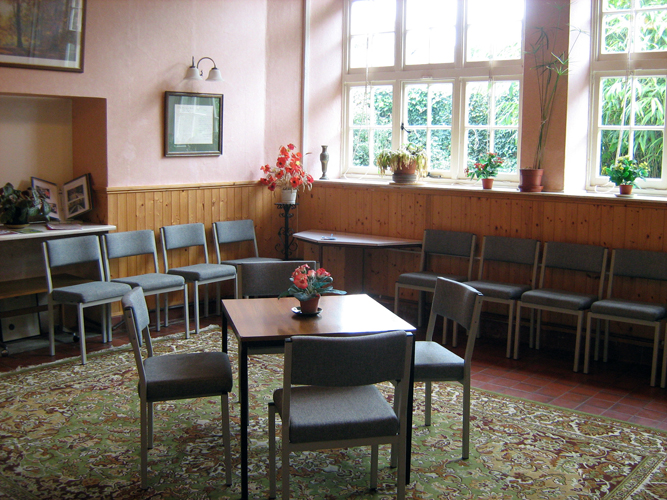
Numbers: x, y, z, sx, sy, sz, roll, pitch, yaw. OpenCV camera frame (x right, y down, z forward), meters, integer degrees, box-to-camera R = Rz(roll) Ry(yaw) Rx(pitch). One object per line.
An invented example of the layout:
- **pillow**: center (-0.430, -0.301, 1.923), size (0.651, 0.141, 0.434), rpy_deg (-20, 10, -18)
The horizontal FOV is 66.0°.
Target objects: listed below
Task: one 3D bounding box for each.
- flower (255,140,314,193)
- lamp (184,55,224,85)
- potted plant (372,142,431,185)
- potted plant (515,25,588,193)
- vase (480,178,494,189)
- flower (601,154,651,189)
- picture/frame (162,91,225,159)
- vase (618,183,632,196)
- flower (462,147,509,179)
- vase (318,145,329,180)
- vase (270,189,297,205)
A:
- **flower**: center (-0.589, -1.050, 6.544), size (0.734, 0.601, 0.649), rpy_deg (-5, 11, -20)
- **lamp**: center (-1.456, -2.072, 5.834), size (0.467, 0.301, 0.339), rpy_deg (-8, 12, -32)
- **potted plant**: center (0.822, -1.039, 6.131), size (0.524, 0.373, 0.442), rpy_deg (2, 9, 19)
- **potted plant**: center (2.340, -1.501, 5.483), size (0.505, 1.687, 0.326), rpy_deg (3, 12, 23)
- **vase**: center (1.748, -0.737, 5.757), size (0.120, 0.096, 0.125), rpy_deg (1, 0, 2)
- **flower**: center (2.941, -0.749, 5.159), size (0.390, 0.316, 0.396), rpy_deg (6, 10, 44)
- **picture/frame**: center (-1.644, -1.449, 5.906), size (0.810, 0.803, 0.065), rpy_deg (-8, 13, -43)
- **vase**: center (2.885, -0.589, 5.067), size (0.124, 0.091, 0.124), rpy_deg (-1, 3, -11)
- **flower**: center (1.771, -0.947, 5.896), size (0.418, 0.284, 0.418), rpy_deg (-10, 11, -13)
- **vase**: center (-0.116, -1.172, 6.872), size (0.114, 0.445, 0.237), rpy_deg (-2, 11, -1)
- **vase**: center (-0.625, -0.683, 6.522), size (0.278, 0.180, 0.261), rpy_deg (2, 3, 1)
